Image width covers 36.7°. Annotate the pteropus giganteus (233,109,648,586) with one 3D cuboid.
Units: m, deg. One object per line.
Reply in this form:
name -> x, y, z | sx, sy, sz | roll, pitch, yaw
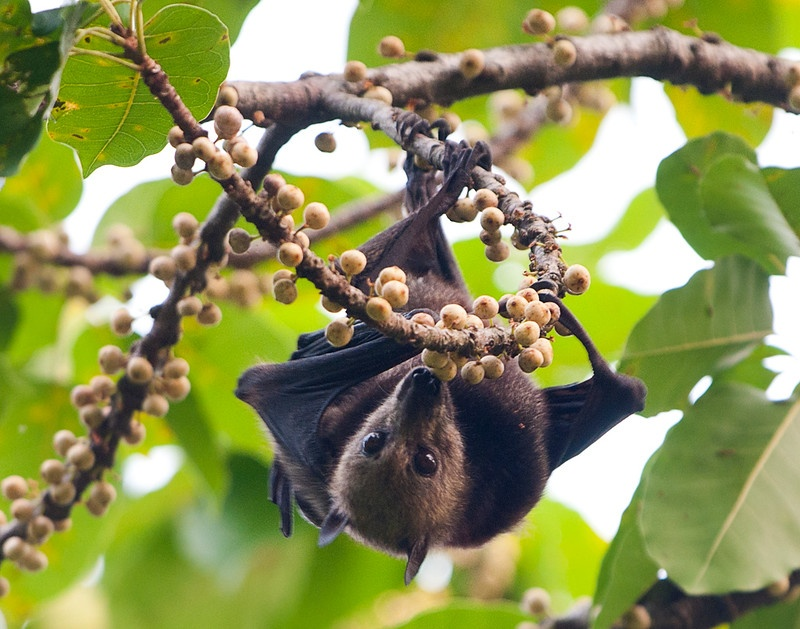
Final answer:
pteropus giganteus -> 0.087, 0.006, 4.945 | 1.218, 2.077, 0.813 | 2, 15, 6
